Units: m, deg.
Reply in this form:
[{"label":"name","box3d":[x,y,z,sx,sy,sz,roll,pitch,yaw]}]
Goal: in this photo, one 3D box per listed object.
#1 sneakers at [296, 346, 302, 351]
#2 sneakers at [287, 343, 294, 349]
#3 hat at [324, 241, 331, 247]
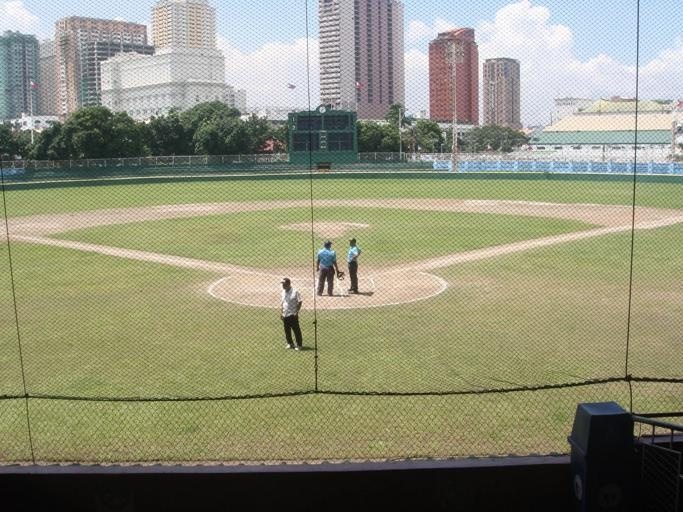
[{"label":"sneakers","box3d":[-0.988,2.125,22.199,0.091,0.097,0.239,0,-7,13]},{"label":"sneakers","box3d":[-1.191,2.086,22.343,0.224,0.130,0.072,9,12,42]},{"label":"hat","box3d":[-0.364,-0.293,24.938,0.146,0.145,0.198,-3,3,-39]}]
